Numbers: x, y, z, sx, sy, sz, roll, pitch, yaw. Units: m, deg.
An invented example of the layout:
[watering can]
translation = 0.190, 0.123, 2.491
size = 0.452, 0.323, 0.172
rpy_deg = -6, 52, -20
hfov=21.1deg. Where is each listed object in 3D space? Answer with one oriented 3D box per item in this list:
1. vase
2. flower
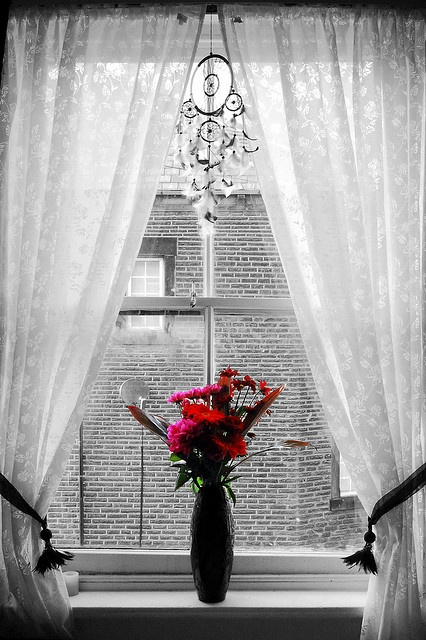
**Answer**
[vase]
translation = 0.001, 0.707, 3.609
size = 0.146, 0.393, 0.149
rpy_deg = 3, 3, -5
[flower]
translation = 0.016, 0.372, 3.662
size = 0.486, 0.453, 0.425
rpy_deg = 1, 5, -40
